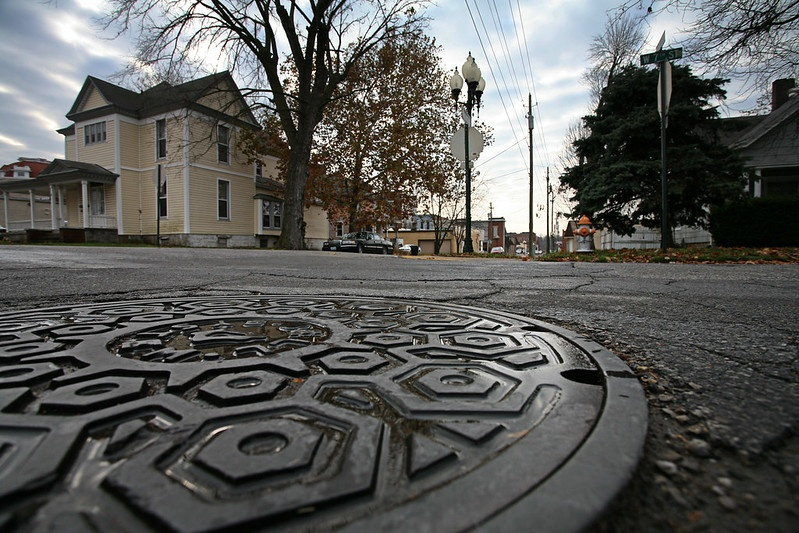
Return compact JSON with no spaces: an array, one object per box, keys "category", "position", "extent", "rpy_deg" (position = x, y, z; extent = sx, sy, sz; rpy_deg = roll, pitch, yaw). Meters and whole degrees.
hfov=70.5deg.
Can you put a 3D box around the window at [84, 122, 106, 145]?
[{"category":"window","position":[-12.523,-5.473,23.110],"extent":[1.042,0.775,0.073],"rpy_deg":[-3,-3,21]}]

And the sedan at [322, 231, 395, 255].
[{"category":"sedan","position":[-1.353,-0.864,23.807],"extent":[1.243,0.700,2.499],"rpy_deg":[-1,-2,34]}]

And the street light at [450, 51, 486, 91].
[{"category":"street light","position":[1.599,-4.715,13.682],"extent":[0.748,0.696,1.182],"rpy_deg":[1,3,5]}]
